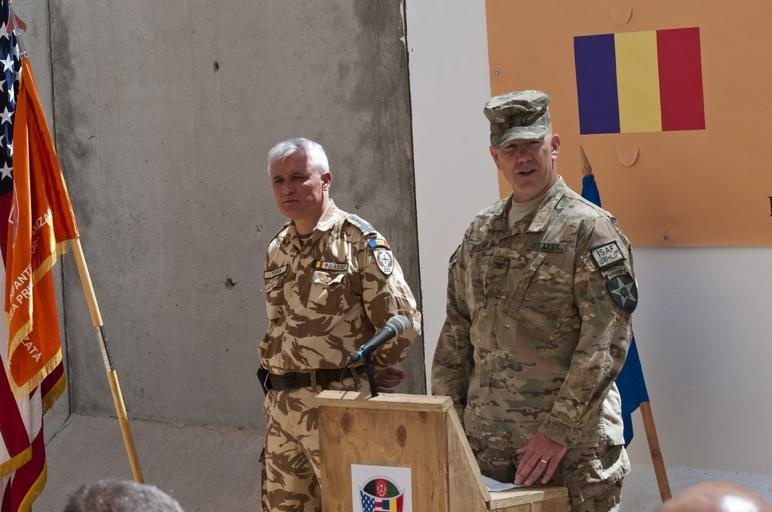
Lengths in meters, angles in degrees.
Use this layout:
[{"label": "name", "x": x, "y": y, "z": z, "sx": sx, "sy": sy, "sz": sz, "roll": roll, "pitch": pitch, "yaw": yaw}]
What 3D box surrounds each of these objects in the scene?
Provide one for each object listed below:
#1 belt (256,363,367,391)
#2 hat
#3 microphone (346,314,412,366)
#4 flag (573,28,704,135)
[{"label": "belt", "x": -0.405, "y": 0.632, "z": 5.792, "sx": 0.586, "sy": 0.137, "sz": 0.124, "roll": 0, "pitch": 1, "yaw": 17}, {"label": "hat", "x": 0.637, "y": -0.671, "z": 5.434, "sx": 0.225, "sy": 0.177, "sz": 0.304, "roll": -16, "pitch": -7, "yaw": 18}, {"label": "microphone", "x": -0.057, "y": 0.362, "z": 4.979, "sx": 0.282, "sy": 0.197, "sz": 0.296, "roll": -1, "pitch": 0, "yaw": -14}, {"label": "flag", "x": 1.387, "y": -0.940, "z": 6.028, "sx": 0.477, "sy": 0.458, "sz": 0.021, "roll": -2, "pitch": 2, "yaw": 20}]
